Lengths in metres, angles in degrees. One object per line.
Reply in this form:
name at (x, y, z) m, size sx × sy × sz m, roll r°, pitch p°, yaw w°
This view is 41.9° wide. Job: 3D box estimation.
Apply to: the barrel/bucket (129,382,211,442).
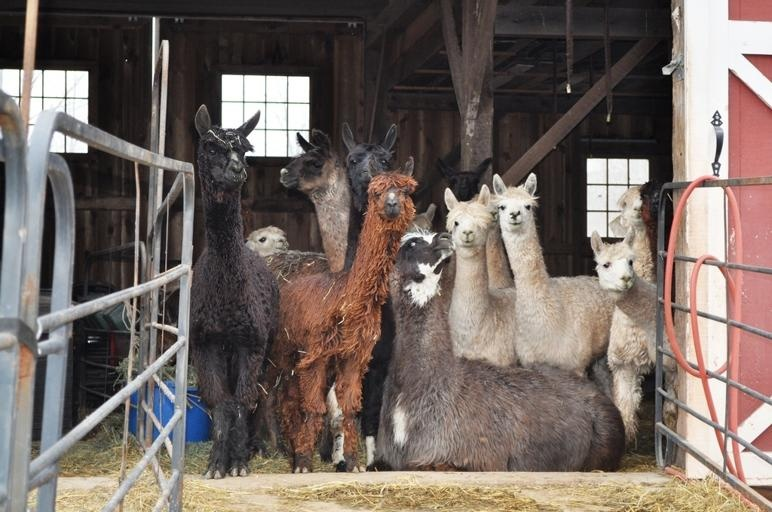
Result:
barrel/bucket at (-1.926, 1.463, 9.101) m, size 0.614 × 0.571 × 0.692 m, roll 0°, pitch 3°, yaw 3°
